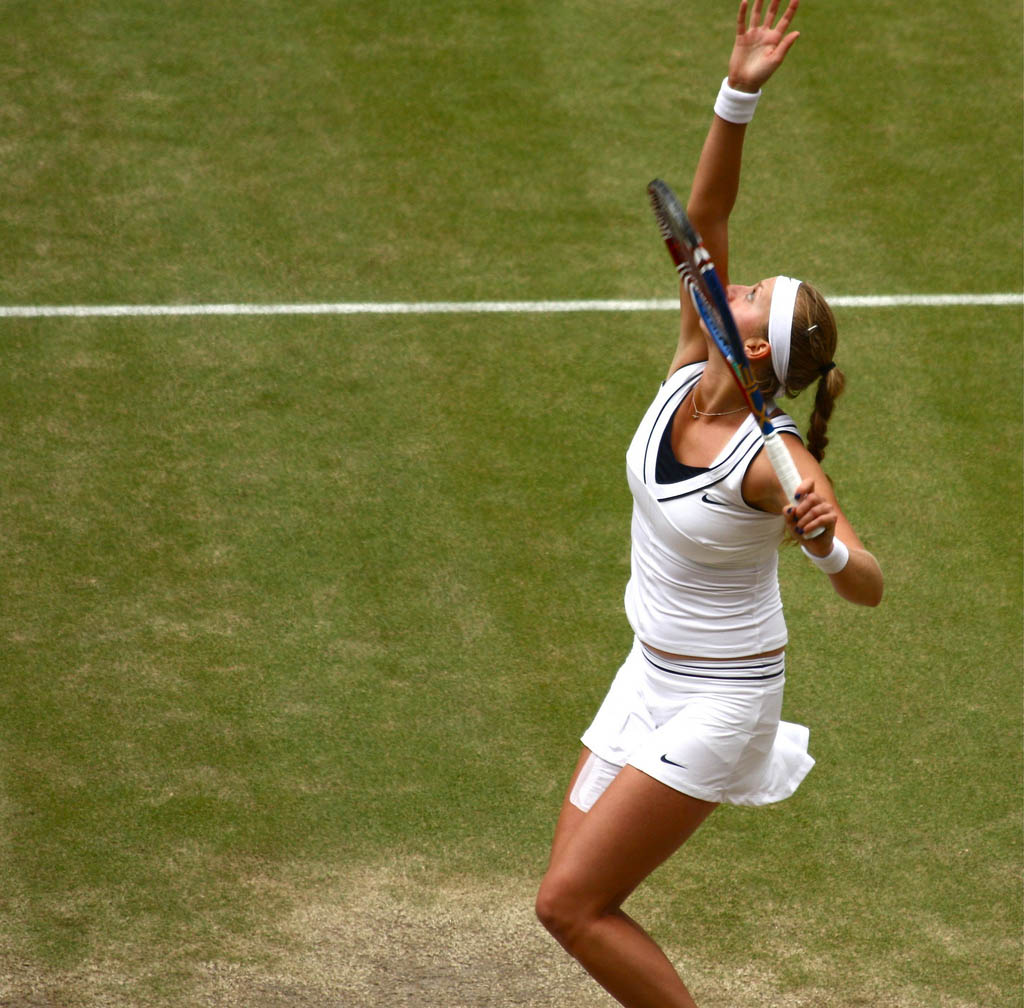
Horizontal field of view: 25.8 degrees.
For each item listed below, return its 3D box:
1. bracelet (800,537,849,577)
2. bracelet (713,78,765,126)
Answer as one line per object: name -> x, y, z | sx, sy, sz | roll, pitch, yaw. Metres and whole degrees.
bracelet -> 1.053, 0.178, 7.451 | 0.125, 0.092, 0.136 | 6, 10, 1
bracelet -> 0.802, -1.460, 7.923 | 0.161, 0.124, 0.161 | 18, 24, 9
